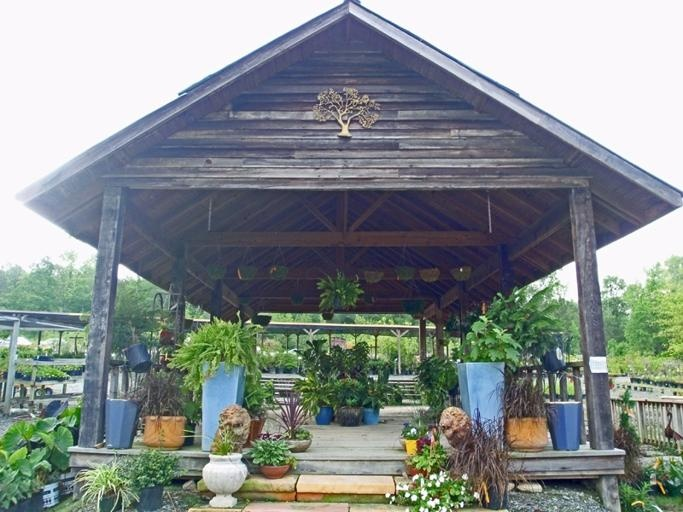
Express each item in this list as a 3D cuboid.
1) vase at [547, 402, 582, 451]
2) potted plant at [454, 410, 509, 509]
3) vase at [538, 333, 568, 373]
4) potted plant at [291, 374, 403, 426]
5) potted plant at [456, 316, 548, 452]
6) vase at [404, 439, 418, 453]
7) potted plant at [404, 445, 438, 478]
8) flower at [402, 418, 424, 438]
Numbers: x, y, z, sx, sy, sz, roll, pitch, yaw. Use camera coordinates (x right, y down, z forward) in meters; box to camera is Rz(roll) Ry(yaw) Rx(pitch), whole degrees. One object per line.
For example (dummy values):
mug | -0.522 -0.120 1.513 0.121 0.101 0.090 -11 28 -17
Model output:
vase | 3.383 2.557 8.986 0.600 0.742 0.655 0 -19 12
potted plant | 1.993 2.953 8.656 0.877 1.158 1.061 -1 -4 13
vase | 3.481 1.623 9.761 0.358 0.714 0.450 -9 11 -21
potted plant | 0.045 2.840 12.142 1.450 0.761 1.211 2 -21 -5
potted plant | 2.476 2.098 9.935 1.508 2.784 1.861 3 -11 -7
vase | 1.066 2.883 9.011 0.208 0.185 0.225 4 -16 -1
potted plant | 1.156 2.948 8.469 0.376 0.275 0.446 -1 -6 10
flower | 1.107 2.723 9.247 0.354 0.291 0.390 -2 -4 27
